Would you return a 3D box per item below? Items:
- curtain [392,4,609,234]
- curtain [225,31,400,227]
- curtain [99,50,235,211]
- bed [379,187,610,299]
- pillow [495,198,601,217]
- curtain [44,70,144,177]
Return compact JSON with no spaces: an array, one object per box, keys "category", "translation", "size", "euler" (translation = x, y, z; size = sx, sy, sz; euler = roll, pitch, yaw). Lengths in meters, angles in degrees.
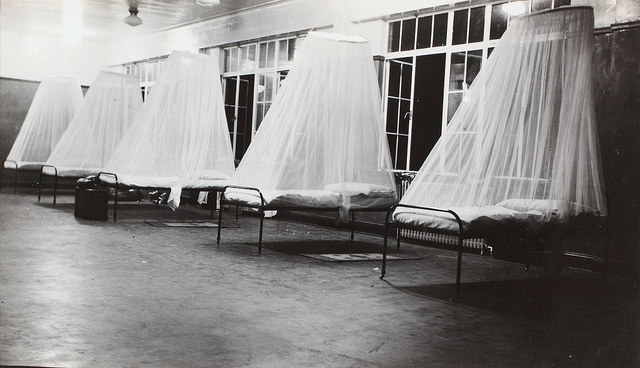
[{"category":"curtain","translation":[2.462,-0.875,7.592],"size":[4.026,3.745,0.291],"euler":[2,6,-2]},{"category":"curtain","translation":[0.079,-0.843,8.527],"size":[2.146,2.775,1.020],"euler":[-3,13,-29]},{"category":"curtain","translation":[-2.885,-1.019,10.878],"size":[2.833,2.879,2.107],"euler":[12,11,0]},{"category":"bed","translation":[2.274,0.637,7.100],"size":[2.220,0.994,1.367],"euler":[3,-4,-26]},{"category":"pillow","translation":[2.772,0.281,7.136],"size":[0.682,0.131,0.506],"euler":[6,-7,-10]},{"category":"curtain","translation":[-4.608,-1.260,11.852],"size":[2.308,2.264,0.177],"euler":[17,19,-27]}]
